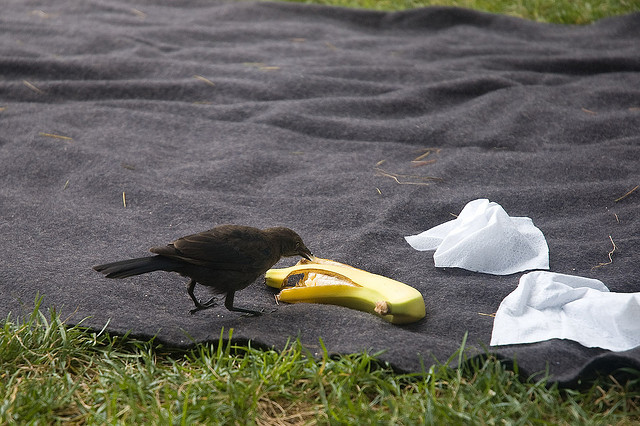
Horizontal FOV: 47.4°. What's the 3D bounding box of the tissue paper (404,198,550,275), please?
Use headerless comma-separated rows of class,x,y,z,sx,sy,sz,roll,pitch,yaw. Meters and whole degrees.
tissue paper,1.000,0.116,4.527,0.883,0.340,0.543,12,30,7

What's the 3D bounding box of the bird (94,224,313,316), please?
bird,-0.570,0.253,3.975,1.186,0.310,0.252,-10,38,-31
